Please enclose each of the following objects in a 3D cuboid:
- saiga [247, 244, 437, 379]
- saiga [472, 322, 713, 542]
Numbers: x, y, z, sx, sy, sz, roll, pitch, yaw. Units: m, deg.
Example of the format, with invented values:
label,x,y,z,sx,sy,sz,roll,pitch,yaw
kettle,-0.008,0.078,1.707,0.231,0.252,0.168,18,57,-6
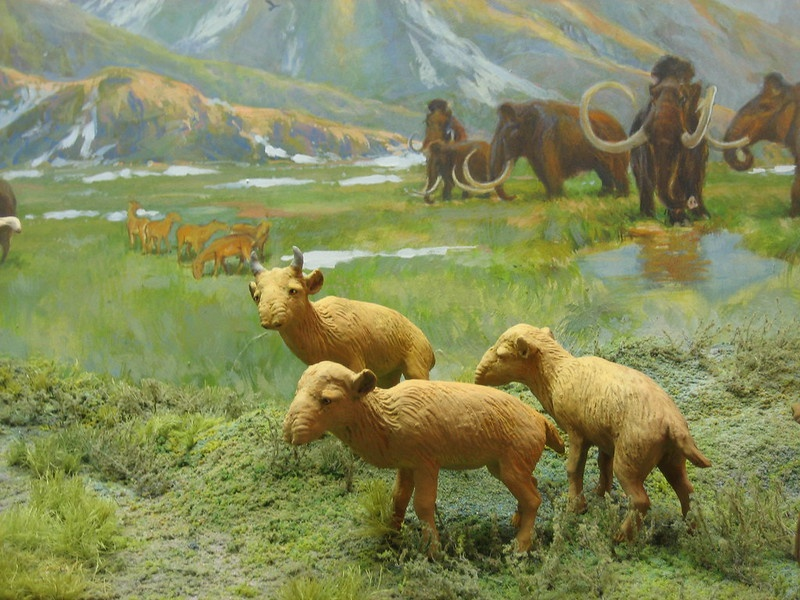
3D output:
label,x,y,z,sx,sy,sz,roll,pitch,yaw
saiga,-0.567,0.547,10.878,2.212,2.000,0.789,14,-30,-38
saiga,1.978,1.343,10.284,2.382,1.958,0.940,13,25,36
